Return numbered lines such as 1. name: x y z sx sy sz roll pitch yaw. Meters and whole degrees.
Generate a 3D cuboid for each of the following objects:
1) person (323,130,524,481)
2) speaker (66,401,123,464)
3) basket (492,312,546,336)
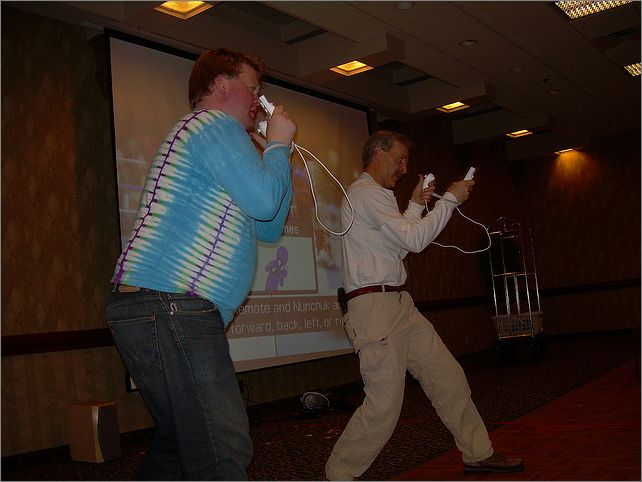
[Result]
1. person: 0.395 0.308 2.397 0.898 1.923 0.417 -2 -3 -18
2. speaker: -1.737 1.439 3.493 0.316 0.419 0.252 -6 -4 29
3. basket: 3.029 1.278 6.979 0.533 0.243 0.428 -3 -8 16
